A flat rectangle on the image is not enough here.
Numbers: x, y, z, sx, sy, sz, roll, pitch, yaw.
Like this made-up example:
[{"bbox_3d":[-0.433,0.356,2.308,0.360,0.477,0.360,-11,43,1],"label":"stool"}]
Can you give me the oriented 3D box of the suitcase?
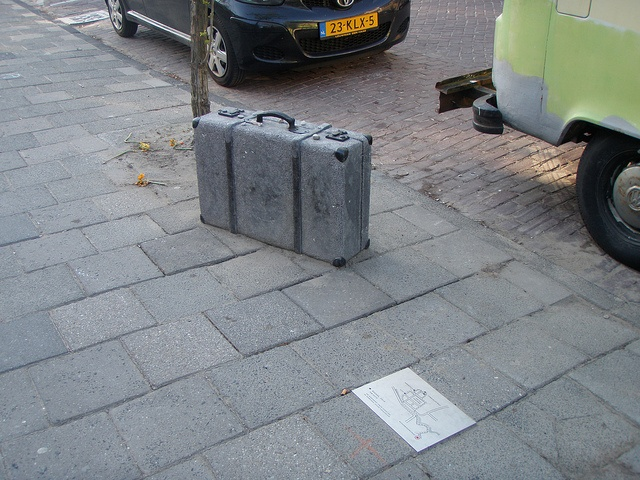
[{"bbox_3d":[-0.339,-0.372,4.043,1.429,0.935,0.520,15,33,27],"label":"suitcase"}]
